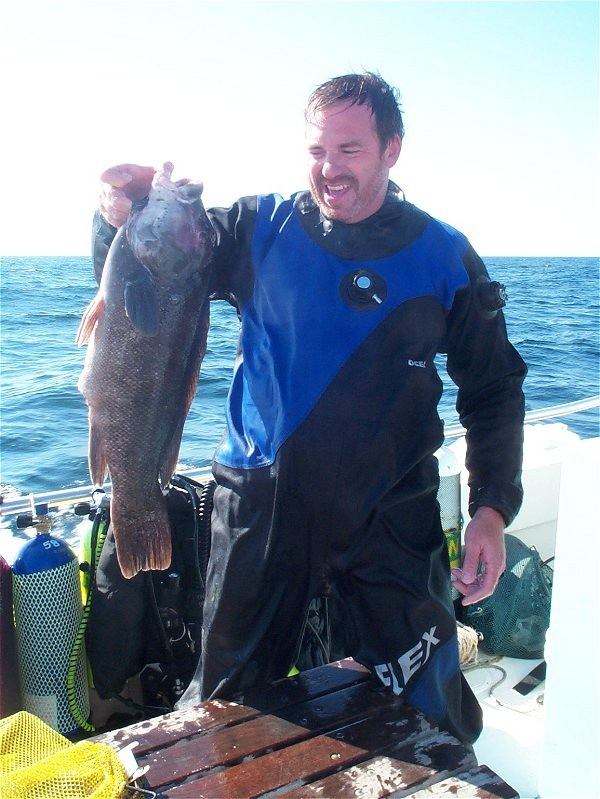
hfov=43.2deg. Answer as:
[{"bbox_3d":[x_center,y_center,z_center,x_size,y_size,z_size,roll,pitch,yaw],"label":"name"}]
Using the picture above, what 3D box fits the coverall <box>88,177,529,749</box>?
[{"bbox_3d":[0.157,0.203,2.323,1.009,1.683,0.775,4,16,14],"label":"coverall"}]
